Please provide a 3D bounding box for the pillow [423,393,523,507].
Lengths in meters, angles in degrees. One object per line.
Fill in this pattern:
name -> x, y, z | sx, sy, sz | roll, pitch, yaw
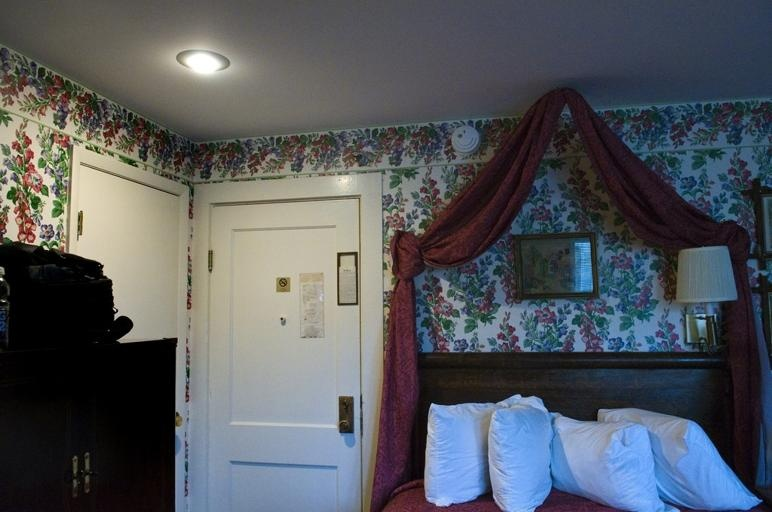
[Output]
pillow -> 0.474, 1.060, 3.034 | 0.416, 0.358, 0.163 | 11, -27, -20

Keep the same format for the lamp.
lamp -> 1.792, 0.251, 3.193 | 0.283, 0.566, 0.312 | -4, -8, 24
